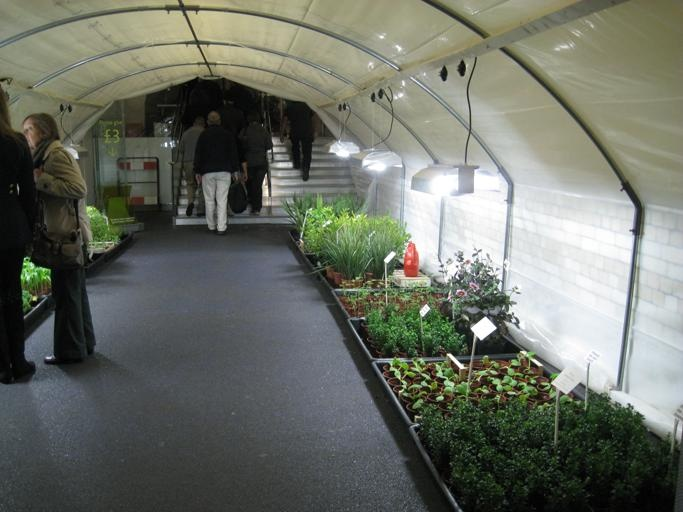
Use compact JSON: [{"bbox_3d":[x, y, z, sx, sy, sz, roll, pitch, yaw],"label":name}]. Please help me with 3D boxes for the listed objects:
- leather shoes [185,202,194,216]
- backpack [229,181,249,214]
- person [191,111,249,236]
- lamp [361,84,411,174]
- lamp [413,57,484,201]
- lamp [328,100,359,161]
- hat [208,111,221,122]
[{"bbox_3d":[-3.722,-1.108,11.214,0.177,0.338,0.162,13,7,-11],"label":"leather shoes"},{"bbox_3d":[-2.540,-1.445,11.263,0.421,0.955,0.382,-13,28,-19],"label":"backpack"},{"bbox_3d":[-2.692,-1.609,9.928,0.907,2.324,0.557,0,9,0],"label":"person"},{"bbox_3d":[0.451,-1.535,5.559,0.389,1.042,0.501,-7,13,-6],"label":"lamp"},{"bbox_3d":[0.981,-1.084,4.142,0.538,1.071,1.318,3,10,18],"label":"lamp"},{"bbox_3d":[0.057,-1.979,7.074,0.401,0.681,0.442,0,15,16],"label":"lamp"},{"bbox_3d":[-2.730,-2.942,9.796,0.216,0.259,0.252,-4,10,-22],"label":"hat"}]
